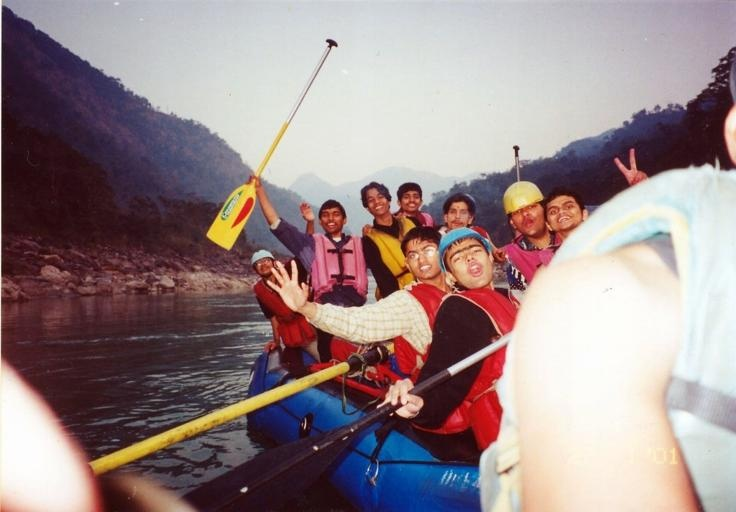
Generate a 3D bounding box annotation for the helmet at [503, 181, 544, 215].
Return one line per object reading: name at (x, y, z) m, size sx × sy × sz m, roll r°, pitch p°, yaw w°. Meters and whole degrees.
helmet at (1.532, -0.519, 4.852) m, size 0.318 × 0.242 × 0.339 m, roll -28°, pitch -9°, yaw 13°

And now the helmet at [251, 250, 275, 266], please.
helmet at (-1.464, 0.008, 6.770) m, size 0.226 × 0.164 × 0.319 m, roll -13°, pitch 7°, yaw -4°
